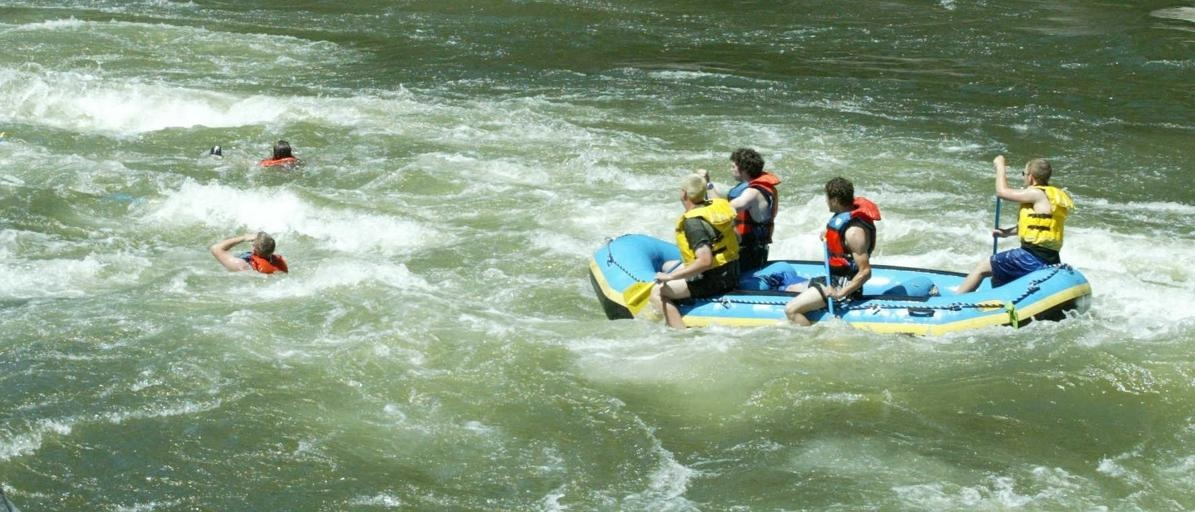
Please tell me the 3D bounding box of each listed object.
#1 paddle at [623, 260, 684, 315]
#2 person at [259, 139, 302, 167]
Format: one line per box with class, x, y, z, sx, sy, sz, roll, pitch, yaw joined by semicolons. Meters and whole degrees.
paddle;1.236;0.533;26.406;0.301;0.510;1.914;-20;12;34
person;-8.198;-2.665;30.876;0.876;0.432;0.986;1;6;-6
